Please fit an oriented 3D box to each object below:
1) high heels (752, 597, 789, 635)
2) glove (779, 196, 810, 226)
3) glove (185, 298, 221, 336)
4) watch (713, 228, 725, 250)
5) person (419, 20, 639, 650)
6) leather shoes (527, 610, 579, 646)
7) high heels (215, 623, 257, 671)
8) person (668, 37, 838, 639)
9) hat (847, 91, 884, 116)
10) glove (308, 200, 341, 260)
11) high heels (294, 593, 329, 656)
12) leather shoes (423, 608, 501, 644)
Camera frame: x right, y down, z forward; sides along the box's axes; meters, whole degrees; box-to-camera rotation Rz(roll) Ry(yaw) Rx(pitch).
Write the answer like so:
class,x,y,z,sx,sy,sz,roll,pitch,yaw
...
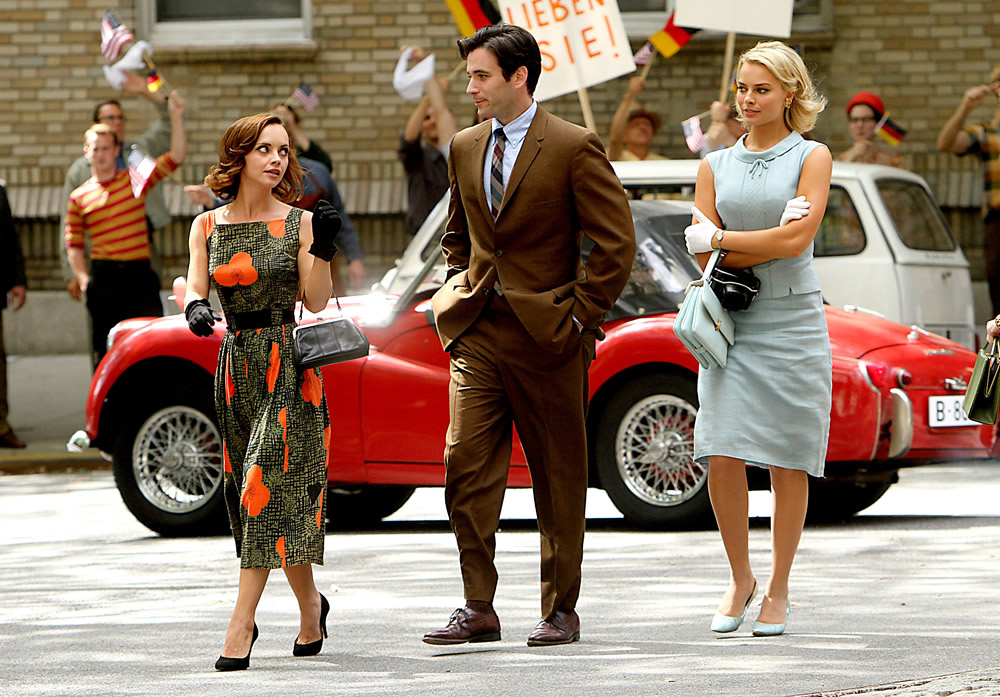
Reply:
class,x,y,z,sx,sy,sz,roll,pitch,yaw
high heels,1.341,1.306,9.864,0.099,0.105,0.270,1,16,25
glove,1.457,-0.670,9.841,0.132,0.135,0.101,-7,14,-22
glove,-1.446,-0.153,9.762,0.059,0.134,0.180,24,20,-47
watch,1.083,-0.540,9.961,0.059,0.083,0.090,2,21,2
person,0.126,-0.074,9.764,0.983,2.907,0.876,-1,12,3
leather shoes,0.269,1.347,9.750,0.117,0.130,0.285,-4,-9,36
high heels,-1.253,1.438,9.513,0.263,0.192,0.114,10,-14,-38
person,1.287,-0.060,9.967,0.696,2.811,0.942,0,13,10
hat,3.120,-2.072,17.077,0.272,0.174,0.415,-1,13,5
glove,-0.841,-0.568,9.701,0.155,0.278,0.099,12,16,21
high heels,-0.916,1.322,9.687,0.190,0.270,0.148,-5,13,-15
leather shoes,-0.173,1.342,9.773,0.401,0.192,0.156,1,-7,-6
